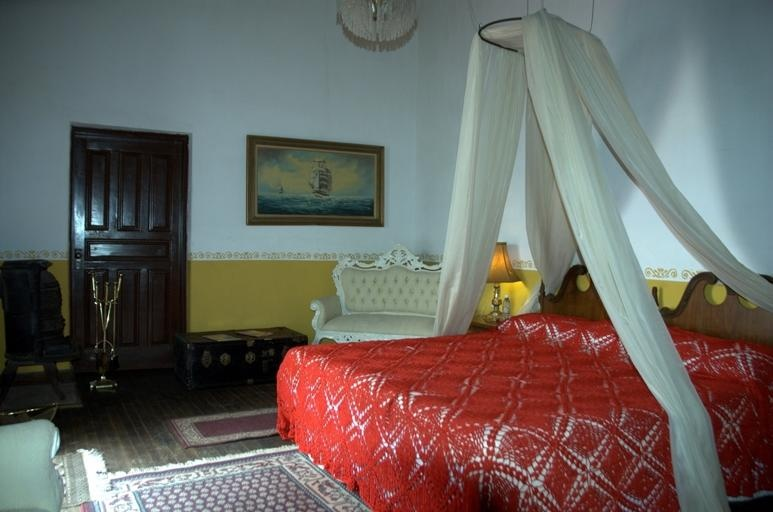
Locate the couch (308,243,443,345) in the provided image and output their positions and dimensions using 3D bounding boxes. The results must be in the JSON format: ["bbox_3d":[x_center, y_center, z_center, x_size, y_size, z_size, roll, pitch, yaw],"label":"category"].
[{"bbox_3d":[-0.075,0.508,6.117,1.826,1.519,1.052,0,1,5],"label":"couch"}]
